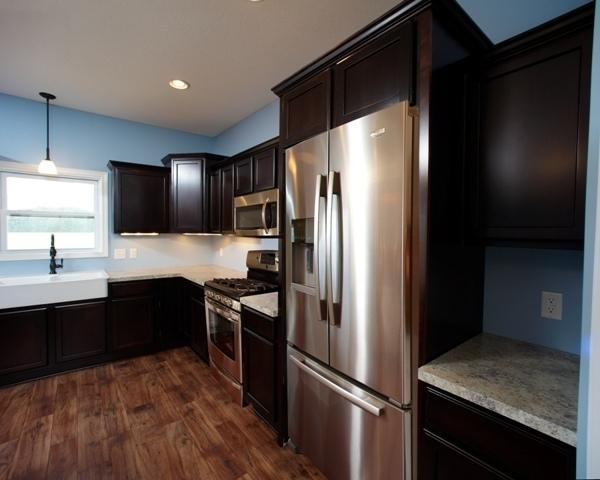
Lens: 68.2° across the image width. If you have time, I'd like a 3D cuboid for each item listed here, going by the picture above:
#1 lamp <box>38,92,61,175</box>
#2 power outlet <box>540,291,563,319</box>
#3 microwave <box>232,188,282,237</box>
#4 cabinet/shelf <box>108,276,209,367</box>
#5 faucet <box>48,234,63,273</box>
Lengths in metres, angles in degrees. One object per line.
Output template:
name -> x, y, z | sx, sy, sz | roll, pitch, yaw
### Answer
lamp -> -2.336, -0.978, 4.108 | 0.136, 0.711, 0.141 | 5, 7, 2
power outlet -> 1.430, 0.366, 2.516 | 0.021, 0.230, 0.135 | 6, -6, -38
microwave -> -0.341, -0.207, 3.802 | 0.276, 0.361, 0.582 | -1, -1, -45
cabinet/shelf -> -1.497, 0.776, 4.563 | 0.630, 0.747, 0.942 | 0, -2, -30
faucet -> -2.462, 0.131, 4.448 | 0.133, 0.383, 0.286 | -7, 14, -31
